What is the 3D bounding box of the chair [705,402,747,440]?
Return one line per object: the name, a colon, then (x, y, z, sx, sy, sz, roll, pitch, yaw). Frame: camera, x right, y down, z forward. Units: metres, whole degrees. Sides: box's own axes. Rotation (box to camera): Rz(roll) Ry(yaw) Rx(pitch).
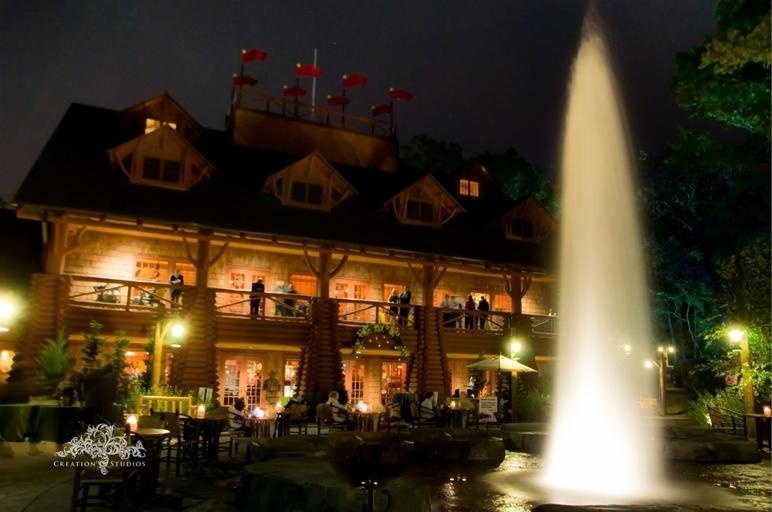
chair: (12.960, 6.153, 25.172, 0.803, 0.931, 1.284, -2, -12, -13)
